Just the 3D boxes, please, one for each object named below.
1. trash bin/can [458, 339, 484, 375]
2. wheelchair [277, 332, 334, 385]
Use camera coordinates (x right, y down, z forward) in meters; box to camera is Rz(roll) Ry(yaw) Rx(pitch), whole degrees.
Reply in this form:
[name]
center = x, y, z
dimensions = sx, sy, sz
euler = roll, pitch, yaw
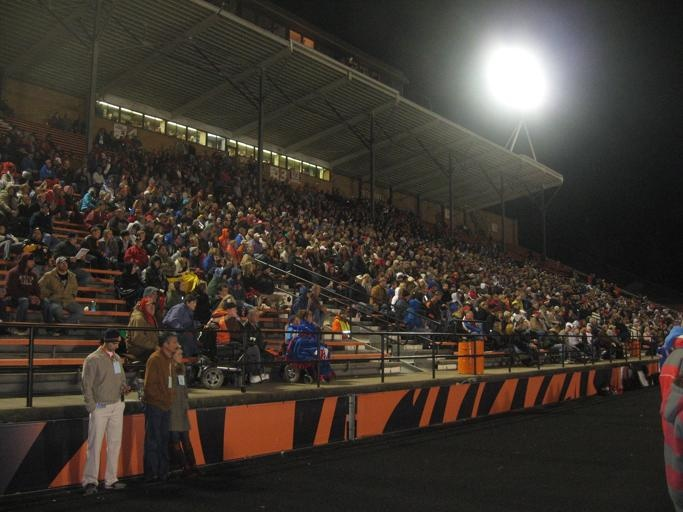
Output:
[trash bin/can]
center = 3.910, 3.106, 23.851
dimensions = 0.858, 1.117, 0.917
euler = 1, -9, -3
[wheelchair]
center = -0.893, 2.597, 20.565
dimensions = 1.277, 1.489, 1.548
euler = 1, 5, -5
